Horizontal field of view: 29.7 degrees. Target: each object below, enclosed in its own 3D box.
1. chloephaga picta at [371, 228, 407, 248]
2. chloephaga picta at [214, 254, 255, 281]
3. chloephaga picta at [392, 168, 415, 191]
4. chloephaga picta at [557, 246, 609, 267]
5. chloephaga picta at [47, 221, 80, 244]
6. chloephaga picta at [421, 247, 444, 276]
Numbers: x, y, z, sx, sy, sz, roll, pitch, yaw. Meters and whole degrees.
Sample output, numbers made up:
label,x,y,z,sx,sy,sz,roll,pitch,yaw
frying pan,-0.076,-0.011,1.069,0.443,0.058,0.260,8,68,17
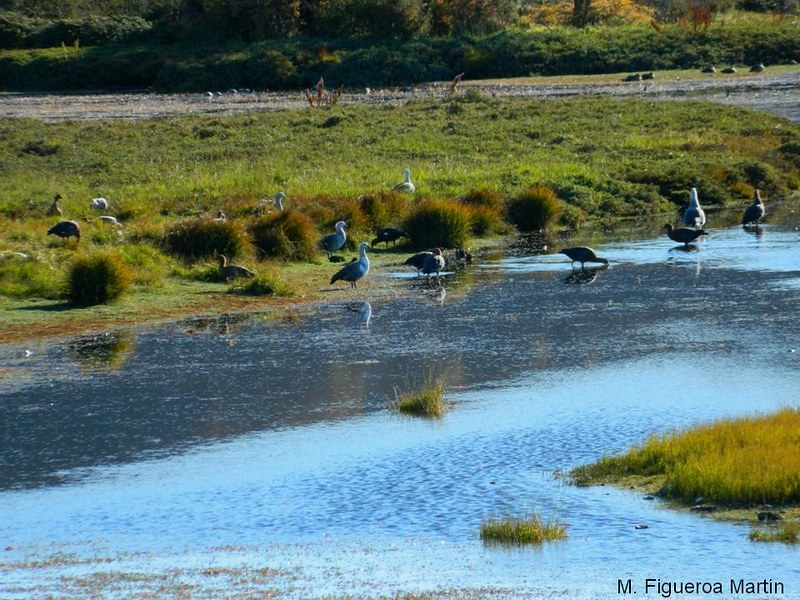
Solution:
label,x,y,z,sx,sy,sz,roll,pitch,yaw
chloephaga picta,-0.465,-2.194,53.799,0.910,0.787,1.527,-10,17,-25
chloephaga picta,-5.350,-0.925,48.596,1.434,0.838,0.526,7,18,32
chloephaga picta,0.109,-4.657,59.876,0.639,0.995,1.209,3,14,10
chloephaga picta,6.031,-1.333,50.142,1.500,0.692,0.692,22,11,17
chloephaga picta,-11.380,-2.257,50.792,1.047,0.824,1.455,-7,16,-15
chloephaga picta,1.023,-1.062,49.642,0.715,0.936,1.313,-3,15,-1
